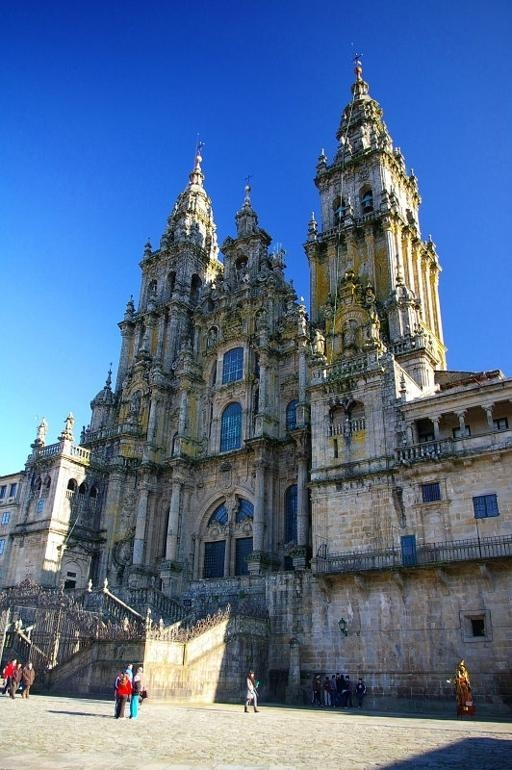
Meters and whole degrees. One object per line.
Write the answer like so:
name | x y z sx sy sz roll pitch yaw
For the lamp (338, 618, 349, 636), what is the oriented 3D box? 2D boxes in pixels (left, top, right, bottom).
lamp | 3.871 11.069 22.742 0.453 0.779 0.738 -6 -23 17

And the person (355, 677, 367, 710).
person | 4.448 13.163 21.373 0.473 1.047 0.524 5 -22 -12

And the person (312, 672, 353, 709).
person | 3.251 13.408 21.940 1.868 1.224 0.939 -20 -29 40
